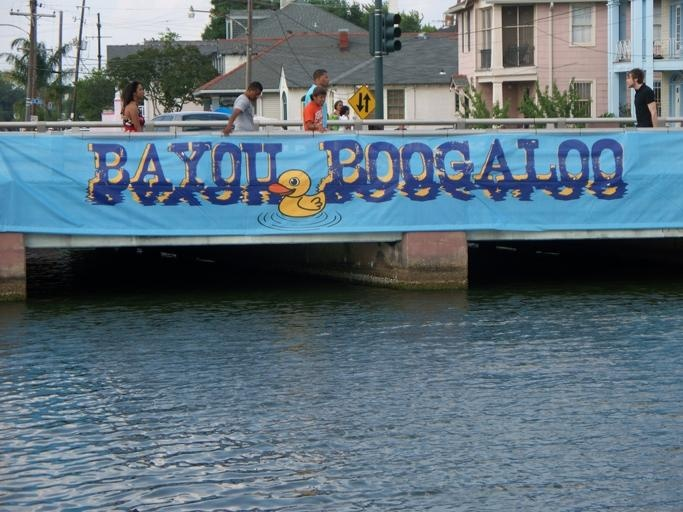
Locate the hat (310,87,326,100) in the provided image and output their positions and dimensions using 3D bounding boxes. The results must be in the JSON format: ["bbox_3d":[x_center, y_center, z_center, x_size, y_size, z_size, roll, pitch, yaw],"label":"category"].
[{"bbox_3d":[-0.460,-3.042,29.928,0.201,0.223,0.171,-14,55,-30],"label":"hat"}]

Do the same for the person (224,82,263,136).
[{"bbox_3d":[-1.902,-2.807,30.027,0.726,1.411,1.337,-3,-13,-3],"label":"person"}]

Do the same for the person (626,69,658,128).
[{"bbox_3d":[5.781,-3.039,30.456,0.474,1.336,0.778,-7,-14,11],"label":"person"}]
